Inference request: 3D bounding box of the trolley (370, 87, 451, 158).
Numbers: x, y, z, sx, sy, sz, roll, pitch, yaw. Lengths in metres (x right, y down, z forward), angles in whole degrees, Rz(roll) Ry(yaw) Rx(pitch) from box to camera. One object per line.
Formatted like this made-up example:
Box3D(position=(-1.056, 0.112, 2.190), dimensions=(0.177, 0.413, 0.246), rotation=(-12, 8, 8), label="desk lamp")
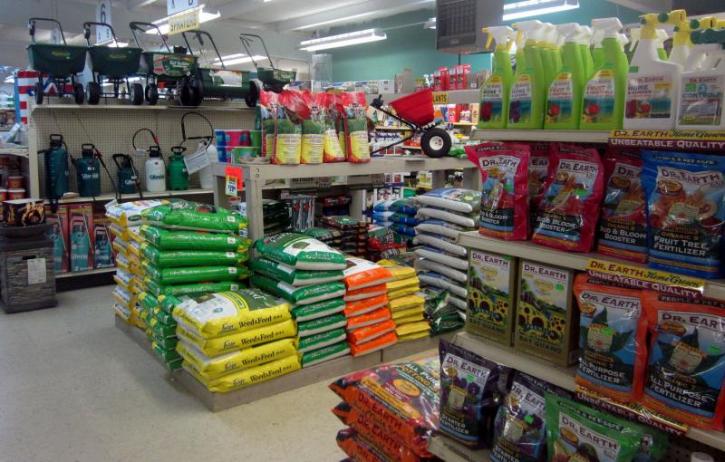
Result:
Box3D(position=(0.406, -0.995, 4.793), dimensions=(0.954, 0.607, 0.408), rotation=(3, 8, 26), label="trolley")
